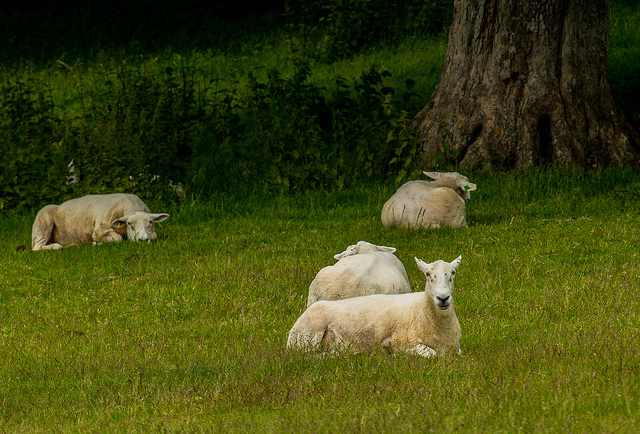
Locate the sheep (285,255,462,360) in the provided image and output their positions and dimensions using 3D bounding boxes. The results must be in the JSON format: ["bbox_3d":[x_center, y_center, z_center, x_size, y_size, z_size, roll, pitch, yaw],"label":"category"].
[{"bbox_3d":[1.068,1.887,22.491,3.050,1.746,1.716,-10,-3,23],"label":"sheep"}]

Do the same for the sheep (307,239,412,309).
[{"bbox_3d":[0.811,1.211,23.797,1.031,1.081,1.992,0,10,8],"label":"sheep"}]

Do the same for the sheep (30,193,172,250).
[{"bbox_3d":[-5.435,0.060,29.151,2.776,1.098,1.597,-7,-6,25],"label":"sheep"}]

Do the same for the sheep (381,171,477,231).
[{"bbox_3d":[2.581,-0.412,28.475,2.193,1.216,1.489,-2,10,4],"label":"sheep"}]
